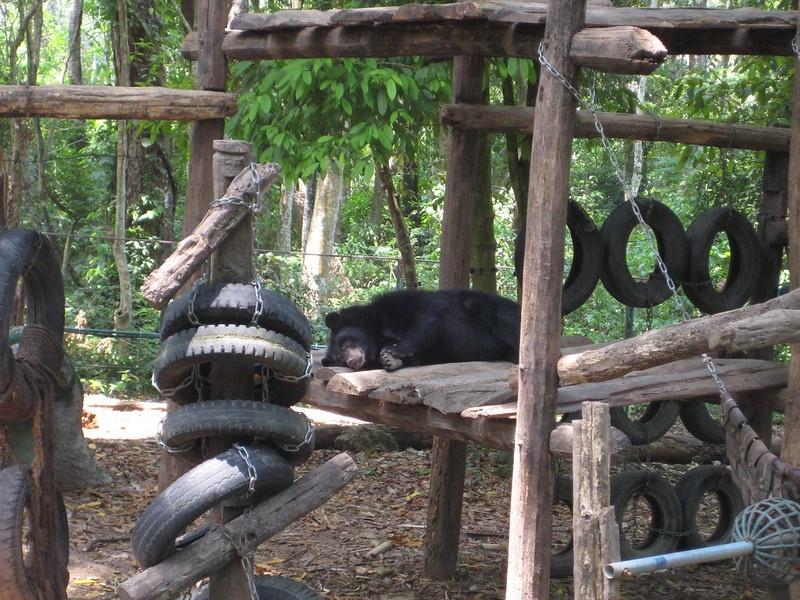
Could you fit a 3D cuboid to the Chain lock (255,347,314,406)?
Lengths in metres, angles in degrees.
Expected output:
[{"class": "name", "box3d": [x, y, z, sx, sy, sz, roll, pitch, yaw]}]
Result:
[{"class": "Chain lock", "box3d": [-0.989, 0.654, 9.926, 0.434, 0.492, 0.352, -2, 4, -22]}]

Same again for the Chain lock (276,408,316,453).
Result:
[{"class": "Chain lock", "box3d": [-0.824, 1.092, 9.960, 0.343, 0.342, 0.106, -25, 2, 10]}]
